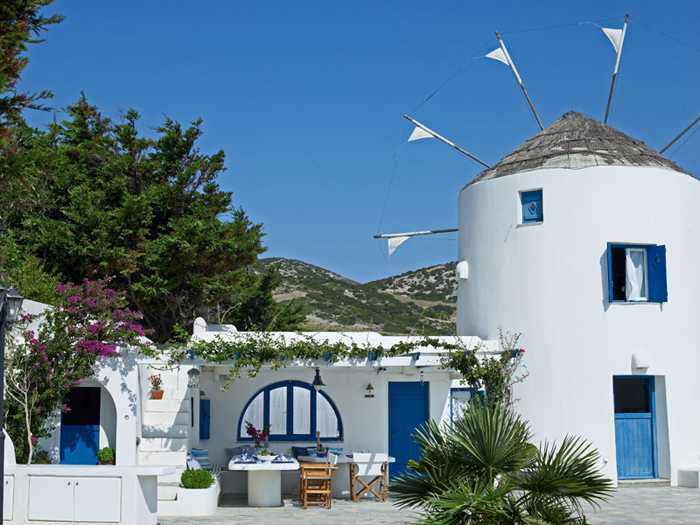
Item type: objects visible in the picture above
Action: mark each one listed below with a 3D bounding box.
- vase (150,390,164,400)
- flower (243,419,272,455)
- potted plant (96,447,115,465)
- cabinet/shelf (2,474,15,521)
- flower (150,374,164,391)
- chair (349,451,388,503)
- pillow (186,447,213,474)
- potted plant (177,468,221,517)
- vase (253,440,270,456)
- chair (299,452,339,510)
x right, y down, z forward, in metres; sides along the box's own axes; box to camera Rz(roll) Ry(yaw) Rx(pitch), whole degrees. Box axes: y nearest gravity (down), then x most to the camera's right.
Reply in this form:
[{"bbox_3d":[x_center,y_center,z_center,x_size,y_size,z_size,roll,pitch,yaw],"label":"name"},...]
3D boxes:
[{"bbox_3d":[-5.410,3.736,33.348,0.251,0.188,0.265,0,-14,-2],"label":"vase"},{"bbox_3d":[-2.586,4.973,33.862,0.874,1.160,0.629,1,-22,-12],"label":"flower"},{"bbox_3d":[-6.421,5.135,31.488,0.439,0.458,0.473,10,-16,-44],"label":"potted plant"},{"bbox_3d":[-8.005,5.544,27.934,0.219,1.091,0.112,2,-12,-17],"label":"cabinet/shelf"},{"bbox_3d":[-5.457,3.400,33.479,0.385,0.463,0.217,-1,-2,-12],"label":"flower"},{"bbox_3d":[0.491,6.101,33.495,1.157,1.418,1.188,-1,-9,10],"label":"chair"},{"bbox_3d":[-4.131,5.431,32.403,0.640,0.807,0.296,3,-27,-26],"label":"pillow"},{"bbox_3d":[-3.928,6.036,31.121,1.286,1.258,0.927,5,-13,-29],"label":"potted plant"},{"bbox_3d":[-2.501,5.275,33.457,0.308,0.350,0.352,2,-21,-2],"label":"vase"},{"bbox_3d":[-0.893,5.988,32.599,1.009,1.449,1.557,3,-5,-10],"label":"chair"}]
